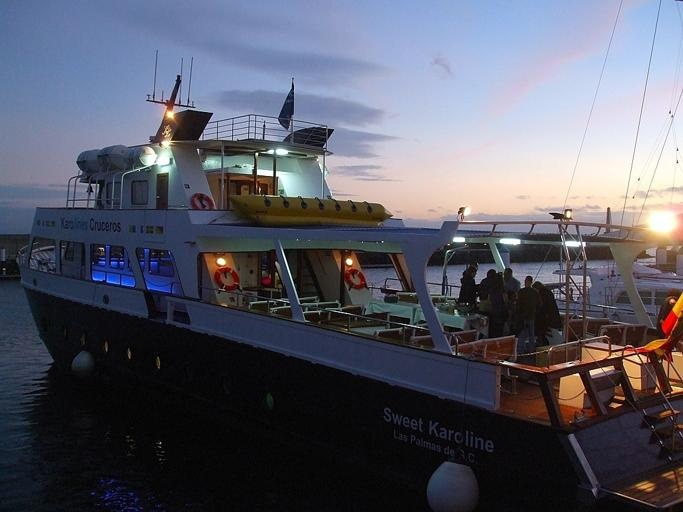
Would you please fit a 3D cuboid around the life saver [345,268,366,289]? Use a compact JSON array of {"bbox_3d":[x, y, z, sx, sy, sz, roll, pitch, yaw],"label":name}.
[{"bbox_3d":[0.408,0.707,15.274,0.646,0.604,0.151,-17,-18,-28],"label":"life saver"}]
